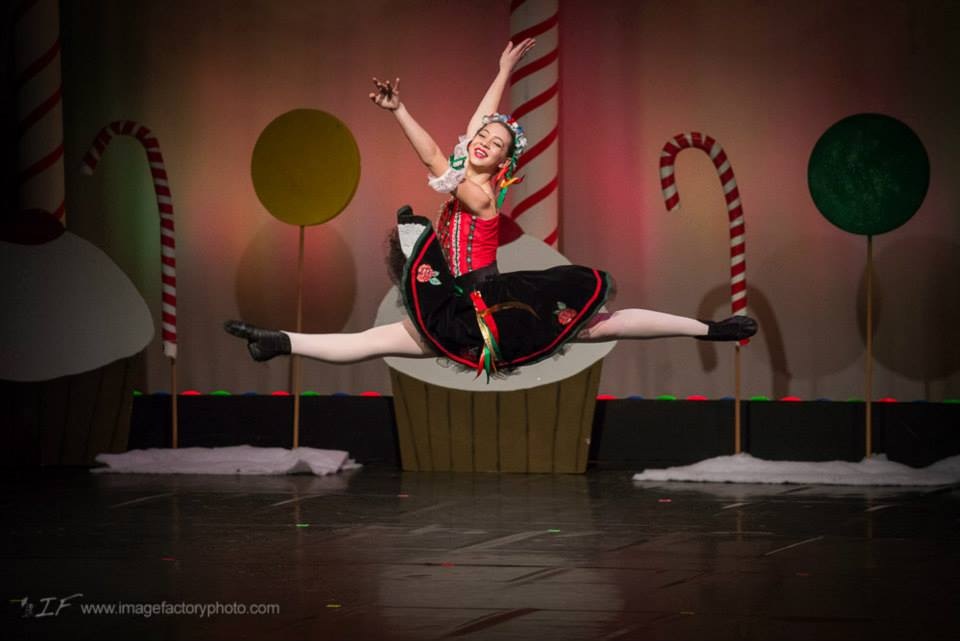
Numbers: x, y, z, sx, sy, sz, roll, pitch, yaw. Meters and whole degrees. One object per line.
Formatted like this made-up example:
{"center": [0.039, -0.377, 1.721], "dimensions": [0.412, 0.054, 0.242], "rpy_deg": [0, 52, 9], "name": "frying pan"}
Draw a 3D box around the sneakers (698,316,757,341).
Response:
{"center": [1.311, 0.059, 4.572], "dimensions": [0.335, 0.164, 0.128], "rpy_deg": [-2, -1, 0], "name": "sneakers"}
